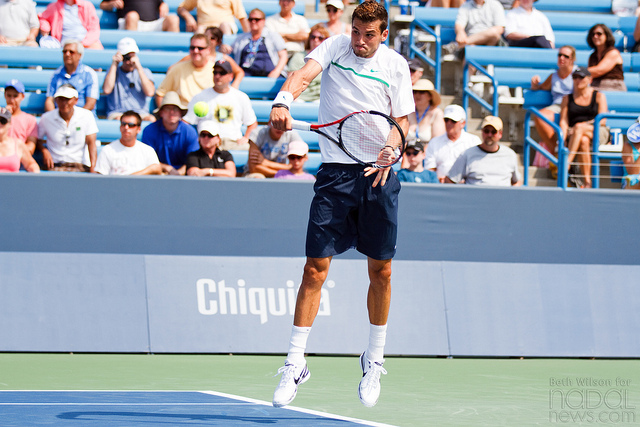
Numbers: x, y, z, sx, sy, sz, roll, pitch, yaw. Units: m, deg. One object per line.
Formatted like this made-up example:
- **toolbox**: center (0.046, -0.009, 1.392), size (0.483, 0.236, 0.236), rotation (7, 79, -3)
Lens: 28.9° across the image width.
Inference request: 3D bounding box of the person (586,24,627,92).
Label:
- **person**: center (4.374, -2.342, 19.029), size (0.513, 1.305, 0.506), rotation (0, 2, 37)

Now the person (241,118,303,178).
- **person**: center (-0.743, -0.907, 17.351), size (0.569, 1.010, 1.222), rotation (-10, -39, 9)

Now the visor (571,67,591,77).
- **visor**: center (3.836, -2.091, 18.191), size (0.252, 0.123, 0.181), rotation (-1, 11, -10)

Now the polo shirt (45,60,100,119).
- **polo shirt**: center (-3.619, -1.742, 18.000), size (0.820, 0.947, 0.514), rotation (-3, 0, -7)

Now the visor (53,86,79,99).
- **visor**: center (-3.517, -1.686, 17.047), size (0.295, 0.160, 0.249), rotation (1, 11, 1)

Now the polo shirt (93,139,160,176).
- **polo shirt**: center (-2.629, -0.755, 16.693), size (0.938, 0.697, 0.485), rotation (2, -9, -6)

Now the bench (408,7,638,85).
- **bench**: center (3.115, -2.646, 19.755), size (1.850, 1.813, 6.761), rotation (-2, -1, 1)

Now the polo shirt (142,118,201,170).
- **polo shirt**: center (-2.081, -0.999, 17.297), size (0.818, 0.698, 0.391), rotation (2, 18, -6)

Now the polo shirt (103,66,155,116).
- **polo shirt**: center (-2.905, -1.785, 18.404), size (0.828, 0.896, 0.484), rotation (0, 0, -2)

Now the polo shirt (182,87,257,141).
- **polo shirt**: center (-1.468, -1.471, 18.050), size (1.119, 0.806, 0.513), rotation (-5, 15, -19)

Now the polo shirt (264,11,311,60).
- **polo shirt**: center (-0.526, -2.898, 19.872), size (0.724, 0.713, 0.598), rotation (1, 11, -2)

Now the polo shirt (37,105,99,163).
- **polo shirt**: center (-3.531, -1.107, 17.230), size (0.978, 0.803, 0.483), rotation (-3, 8, -12)

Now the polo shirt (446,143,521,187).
- **polo shirt**: center (2.286, -0.549, 17.000), size (1.111, 0.833, 0.569), rotation (-3, 8, -10)

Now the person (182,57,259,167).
- **person**: center (-1.886, -1.642, 18.411), size (1.201, 2.028, 0.606), rotation (0, -1, -15)

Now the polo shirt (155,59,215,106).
- **polo shirt**: center (-1.969, -1.923, 18.244), size (0.746, 0.516, 0.273), rotation (9, -9, 1)

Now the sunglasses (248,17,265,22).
- **sunglasses**: center (-0.989, -2.991, 19.024), size (0.221, 0.068, 0.135), rotation (1, 11, -3)

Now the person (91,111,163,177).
- **person**: center (-2.652, -0.926, 16.938), size (0.932, 0.898, 0.538), rotation (3, -4, -11)
